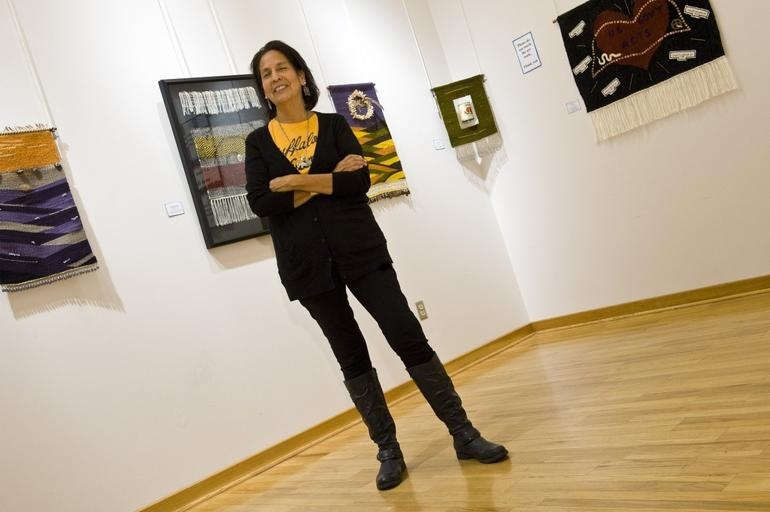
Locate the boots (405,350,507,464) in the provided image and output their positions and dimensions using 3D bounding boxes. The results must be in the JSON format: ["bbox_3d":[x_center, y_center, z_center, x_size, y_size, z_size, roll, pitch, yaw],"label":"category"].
[{"bbox_3d":[0.329,0.676,2.112,0.378,0.482,0.152,-2,16,42],"label":"boots"}]

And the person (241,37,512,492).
[{"bbox_3d":[-0.169,0.014,2.118,0.515,2.029,0.778,-20,13,-32],"label":"person"}]
